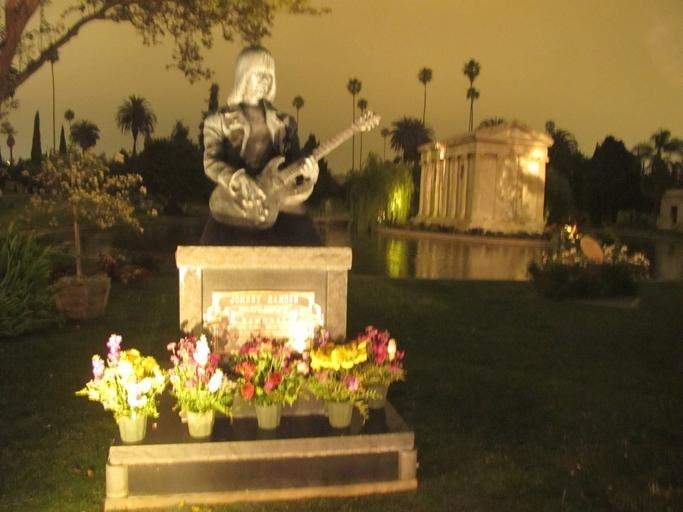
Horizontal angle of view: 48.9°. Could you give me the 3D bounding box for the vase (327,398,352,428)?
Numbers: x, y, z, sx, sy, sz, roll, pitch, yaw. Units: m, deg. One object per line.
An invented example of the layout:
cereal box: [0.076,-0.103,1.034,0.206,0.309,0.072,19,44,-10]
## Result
vase: [-0.020,2.100,9.979,0.275,0.281,0.317,-2,-2,9]

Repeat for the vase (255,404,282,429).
vase: [-0.969,2.090,9.786,0.269,0.269,0.298,-2,-3,5]

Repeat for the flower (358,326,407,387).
flower: [0.474,1.452,10.516,0.557,0.795,0.539,-6,2,0]

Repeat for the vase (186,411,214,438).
vase: [-1.805,2.161,9.605,0.255,0.374,0.323,-1,-8,-3]

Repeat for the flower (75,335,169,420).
flower: [-2.901,1.613,10.019,0.873,1.436,1.190,0,-2,-9]

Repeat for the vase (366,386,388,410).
vase: [0.511,1.951,10.299,0.248,0.246,0.256,-3,5,-23]

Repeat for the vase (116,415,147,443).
vase: [-2.636,2.171,9.529,0.314,0.290,0.315,2,-4,-44]

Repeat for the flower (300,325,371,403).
flower: [0.011,1.540,10.108,0.882,1.136,0.701,0,0,-36]
